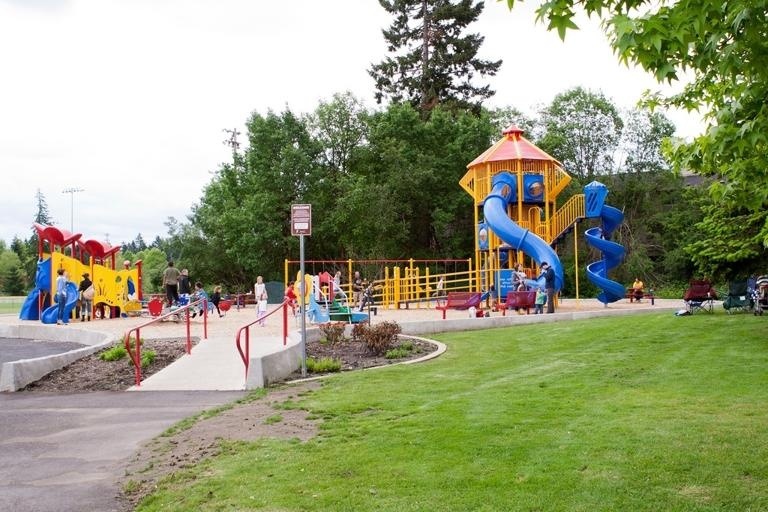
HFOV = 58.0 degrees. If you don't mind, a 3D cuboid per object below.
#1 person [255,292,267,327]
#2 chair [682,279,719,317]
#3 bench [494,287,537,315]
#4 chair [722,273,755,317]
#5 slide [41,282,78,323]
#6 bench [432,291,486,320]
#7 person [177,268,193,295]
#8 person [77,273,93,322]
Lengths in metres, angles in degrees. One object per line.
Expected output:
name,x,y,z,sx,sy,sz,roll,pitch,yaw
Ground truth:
person,-4.549,1.958,25.744,0.302,1.339,2.214,-1,-5,-11
chair,12.507,1.679,27.243,1.140,1.442,1.132,-3,-10,15
bench,5.397,2.003,27.867,1.208,0.820,1.122,-1,9,0
chair,12.782,1.404,24.876,1.116,1.442,1.515,-2,-9,23
slide,-13.216,1.930,28.559,1.806,1.303,1.381,-4,1,-18
bench,3.163,2.004,28.689,1.488,1.024,3.381,-2,-6,2
person,-8.252,1.089,28.634,0.383,1.059,1.377,0,-5,-20
person,-12.746,1.760,29.584,0.502,2.006,1.037,0,-5,-24
